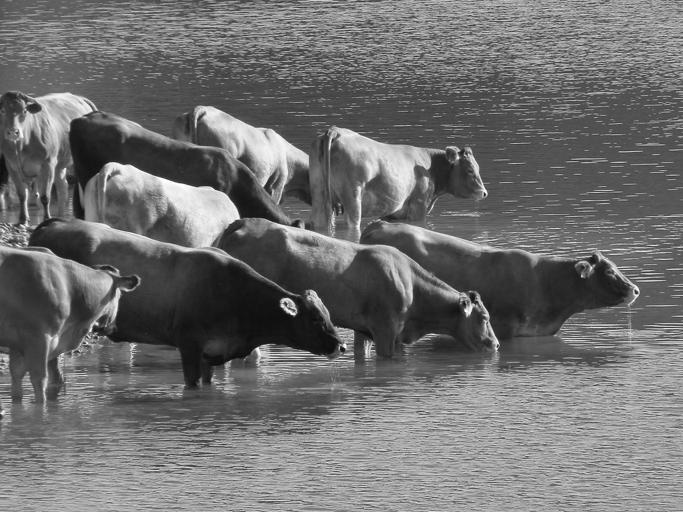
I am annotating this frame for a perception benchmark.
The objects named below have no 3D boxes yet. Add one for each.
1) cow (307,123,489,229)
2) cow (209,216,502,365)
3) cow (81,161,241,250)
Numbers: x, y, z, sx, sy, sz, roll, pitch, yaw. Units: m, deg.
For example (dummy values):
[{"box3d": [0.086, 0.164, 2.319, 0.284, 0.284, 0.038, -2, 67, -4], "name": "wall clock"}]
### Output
[{"box3d": [1.070, -1.114, 31.131, 3.596, 1.703, 1.213, 4, -2, -38], "name": "cow"}, {"box3d": [0.206, 0.751, 21.729, 4.004, 1.681, 0.913, 13, -14, -19], "name": "cow"}, {"box3d": [-2.316, -0.549, 23.577, 2.041, 0.928, 1.114, 15, -46, -31], "name": "cow"}]
